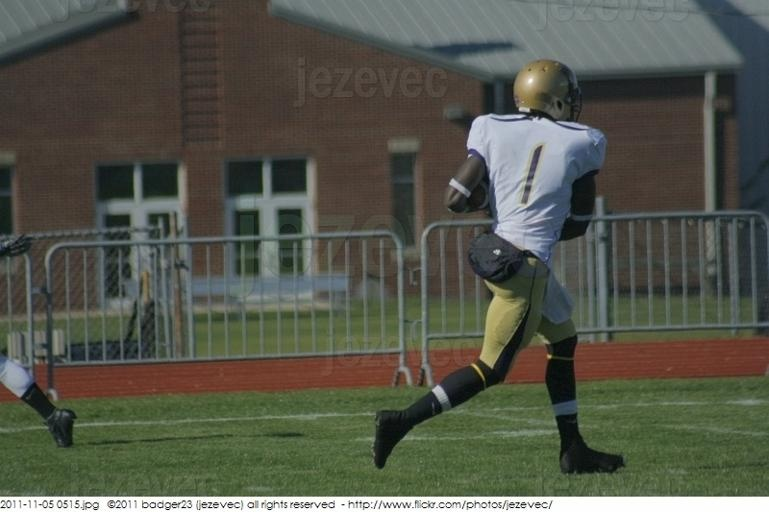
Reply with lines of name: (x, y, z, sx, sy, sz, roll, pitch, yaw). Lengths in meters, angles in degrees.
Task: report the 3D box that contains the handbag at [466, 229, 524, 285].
handbag: (1.353, 0.030, 24.492, 0.690, 0.593, 0.164, -1, 0, 17)
